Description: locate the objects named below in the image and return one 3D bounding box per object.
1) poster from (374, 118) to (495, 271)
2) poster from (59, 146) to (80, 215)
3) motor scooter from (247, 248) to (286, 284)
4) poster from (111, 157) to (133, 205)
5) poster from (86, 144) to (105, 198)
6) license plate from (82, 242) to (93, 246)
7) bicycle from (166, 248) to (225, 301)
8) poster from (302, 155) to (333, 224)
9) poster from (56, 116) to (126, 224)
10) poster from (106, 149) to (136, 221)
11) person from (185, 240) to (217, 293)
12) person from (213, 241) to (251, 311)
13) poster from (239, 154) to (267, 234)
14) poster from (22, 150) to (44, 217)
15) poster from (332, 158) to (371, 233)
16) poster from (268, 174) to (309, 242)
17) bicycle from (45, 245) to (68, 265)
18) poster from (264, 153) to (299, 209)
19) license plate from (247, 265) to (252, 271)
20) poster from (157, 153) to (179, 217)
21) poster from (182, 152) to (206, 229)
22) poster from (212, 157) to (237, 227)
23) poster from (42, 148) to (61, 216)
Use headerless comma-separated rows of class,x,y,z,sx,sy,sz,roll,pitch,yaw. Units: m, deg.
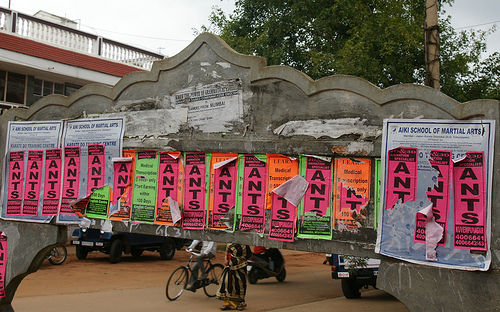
poster,3.056,0.593,9.885,1.828,2.445,0.061,3,-1,14
poster,-3.554,0.490,11.858,0.342,1.479,0.318,1,0,-5
motor scooter,0.465,3.183,17.495,0.722,0.796,1.668,2,-2,37
poster,-2.445,0.443,11.519,0.318,0.987,0.326,0,0,5
poster,-2.982,0.300,11.651,0.382,1.032,0.008,-1,-3,18
license plate,-5.217,2.777,19.208,0.395,0.111,0.120,2,-2,25
bicycle,-1.321,3.038,15.374,2.187,1.253,0.943,-14,-36,38
poster,1.174,0.566,10.428,0.467,0.864,0.068,3,-2,21
poster,-3.170,0.320,11.820,0.031,2.105,1.480,10,6,35
poster,-2.443,0.545,11.471,0.479,1.331,0.442,-1,-1,4
person,-1.172,2.594,15.265,0.808,1.746,0.640,-3,14,-36
person,-0.386,2.810,14.007,0.708,1.275,0.530,3,-1,-1
poster,0.088,0.631,10.734,0.625,1.423,0.056,1,-4,40
poster,-4.337,0.526,12.025,0.382,1.283,0.031,3,-1,15
poster,1.779,0.683,10.280,0.725,1.353,0.111,-2,-7,36
poster,0.670,0.906,10.579,0.172,1.119,0.843,15,-11,-41
bicycle,-6.082,3.078,18.944,0.511,0.578,0.939,3,-2,0
poster,0.561,0.467,10.703,0.634,1.004,0.109,4,-6,-17
license plate,-0.008,3.193,17.157,0.157,0.114,0.142,0,-6,-10
poster,-1.498,0.561,11.255,0.510,1.272,0.095,-1,-5,29
poster,-1.029,0.618,11.096,0.552,1.375,0.016,-2,-5,35
poster,-0.464,0.642,10.899,0.427,1.021,0.062,3,-2,20
poster,-3.926,0.493,11.918,0.016,1.327,0.404,3,0,32
